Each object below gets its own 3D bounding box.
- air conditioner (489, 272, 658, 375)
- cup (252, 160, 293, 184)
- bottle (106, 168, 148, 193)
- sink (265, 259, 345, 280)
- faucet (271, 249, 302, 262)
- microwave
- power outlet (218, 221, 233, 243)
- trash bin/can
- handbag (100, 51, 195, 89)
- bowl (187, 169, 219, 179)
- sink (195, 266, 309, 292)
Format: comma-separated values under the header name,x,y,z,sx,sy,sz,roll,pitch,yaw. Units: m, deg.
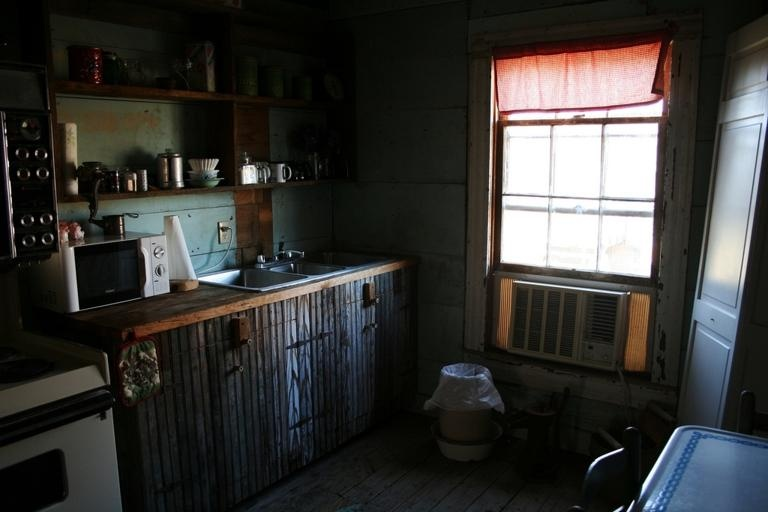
name,x,y,z,sx,sy,sz,roll,pitch,yaw
air conditioner,1.315,0.456,3.760,0.745,0.437,0.124,4,7,25
cup,-0.800,-0.596,3.998,0.247,0.158,0.139,0,3,-2
bottle,-1.473,-0.445,3.277,0.141,0.135,0.314,4,13,23
sink,-0.569,0.087,3.983,0.174,0.109,0.273,7,11,37
faucet,-0.720,-0.015,4.206,0.139,0.051,0.107,2,5,23
microwave,-1.595,-0.033,3.059,0.446,0.378,0.638,3,9,32
power outlet,-1.108,-0.166,3.894,0.031,0.160,0.113,7,14,33
trash bin/can,0.581,0.997,3.805,0.471,0.363,0.395,-1,5,-23
handbag,-1.432,-1.114,3.353,0.525,0.215,0.229,-12,16,-41
bowl,-1.159,-0.521,3.561,0.175,0.057,0.072,-4,12,-12
sink,-0.944,0.148,3.719,0.303,0.076,0.305,10,12,35
